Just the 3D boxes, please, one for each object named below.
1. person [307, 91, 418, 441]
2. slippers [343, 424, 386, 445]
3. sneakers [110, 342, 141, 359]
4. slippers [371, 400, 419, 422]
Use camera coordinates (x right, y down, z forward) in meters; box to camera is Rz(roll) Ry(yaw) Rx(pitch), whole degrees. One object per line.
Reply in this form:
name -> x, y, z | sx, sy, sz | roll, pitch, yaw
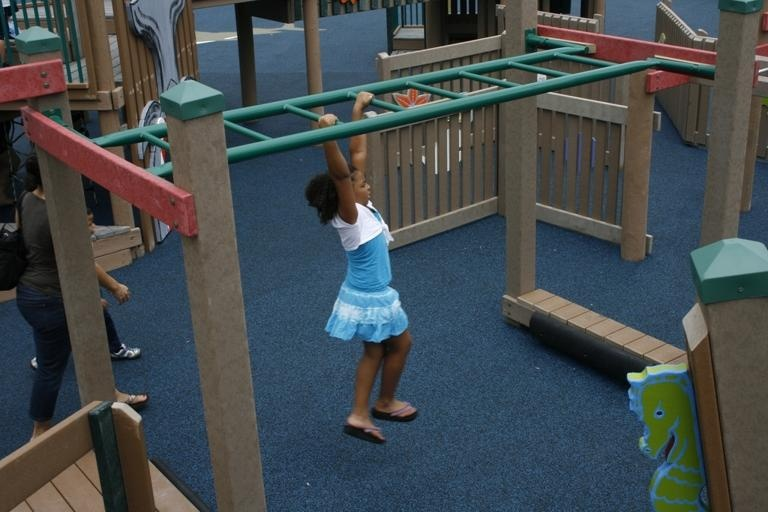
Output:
person -> -0.148, 0.222, 4.855 | 0.649, 2.448, 0.869 | -8, 25, -8
slippers -> -0.139, 1.398, 5.175 | 0.333, 0.123, 0.122 | 13, 43, 8
sneakers -> -2.368, 0.873, 6.120 | 0.296, 0.139, 0.111 | -6, 41, -15
slippers -> 0.093, 1.276, 5.321 | 0.288, 0.098, 0.167 | 2, 32, 3
